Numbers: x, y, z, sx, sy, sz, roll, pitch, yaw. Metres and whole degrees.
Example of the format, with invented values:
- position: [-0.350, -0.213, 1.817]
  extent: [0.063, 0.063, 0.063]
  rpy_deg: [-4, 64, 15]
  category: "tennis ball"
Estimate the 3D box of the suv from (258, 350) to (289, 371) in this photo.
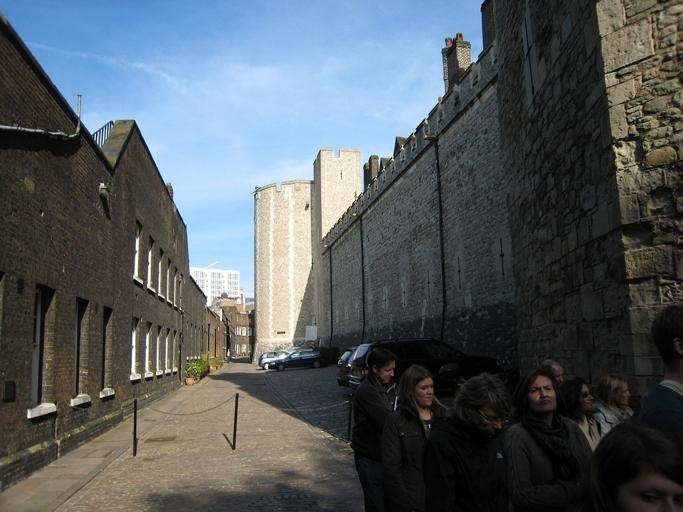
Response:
- position: [-5.015, 7.674, 43.403]
  extent: [2.324, 1.196, 1.558]
  rpy_deg: [-4, -5, 5]
  category: "suv"

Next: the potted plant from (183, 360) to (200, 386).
- position: [-7.523, 5.875, 30.583]
  extent: [0.517, 0.653, 0.989]
  rpy_deg: [3, 13, -4]
  category: "potted plant"

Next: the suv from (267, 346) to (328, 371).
- position: [-3.105, 7.296, 42.997]
  extent: [3.257, 1.408, 1.733]
  rpy_deg: [0, -8, -6]
  category: "suv"
